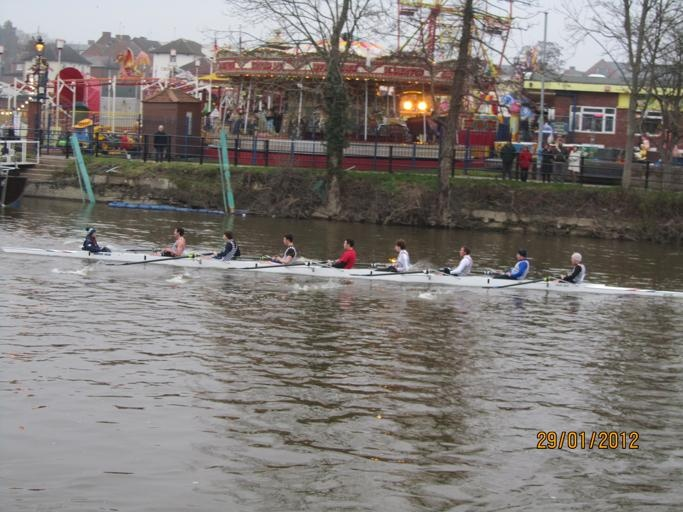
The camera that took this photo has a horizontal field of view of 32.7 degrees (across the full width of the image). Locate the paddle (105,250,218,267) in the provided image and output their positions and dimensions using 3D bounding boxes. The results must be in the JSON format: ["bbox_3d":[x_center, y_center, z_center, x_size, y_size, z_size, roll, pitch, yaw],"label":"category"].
[{"bbox_3d":[-6.264,0.086,40.199,3.858,0.436,0.300,-2,-30,-6],"label":"paddle"}]

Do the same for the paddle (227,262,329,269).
[{"bbox_3d":[-2.001,0.320,39.935,2.582,0.336,0.860,1,1,1],"label":"paddle"}]

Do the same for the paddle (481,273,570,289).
[{"bbox_3d":[6.252,0.884,39.228,2.497,0.210,0.775,-4,8,-2],"label":"paddle"}]

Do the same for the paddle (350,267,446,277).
[{"bbox_3d":[1.974,0.564,39.607,3.257,0.382,0.482,3,12,2],"label":"paddle"}]
